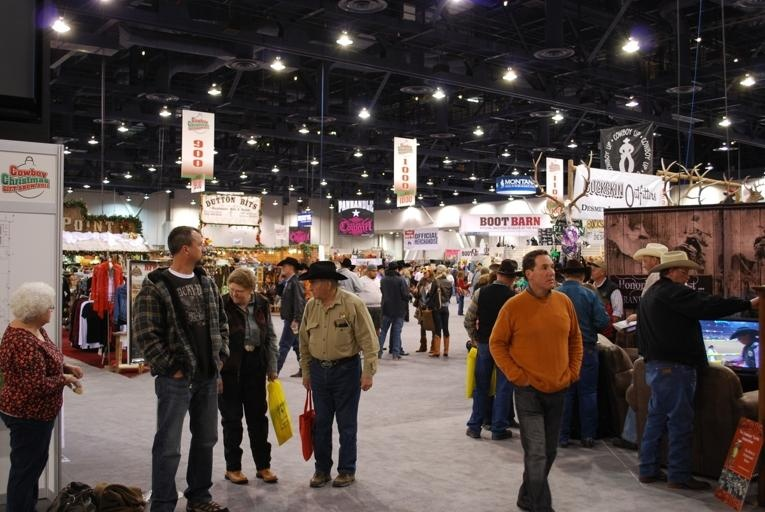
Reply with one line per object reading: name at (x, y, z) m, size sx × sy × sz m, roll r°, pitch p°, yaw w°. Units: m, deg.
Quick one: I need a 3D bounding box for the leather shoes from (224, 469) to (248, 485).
leather shoes at (-1.390, 2.105, 5.952) m, size 0.096 × 0.111 × 0.262 m, roll 10°, pitch -14°, yaw -42°

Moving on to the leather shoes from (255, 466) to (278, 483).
leather shoes at (-1.122, 2.120, 6.054) m, size 0.093 × 0.098 × 0.236 m, roll 6°, pitch -11°, yaw -36°

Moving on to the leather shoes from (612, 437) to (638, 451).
leather shoes at (2.669, 2.059, 6.874) m, size 0.102 × 0.113 × 0.279 m, roll 1°, pitch 4°, yaw -44°

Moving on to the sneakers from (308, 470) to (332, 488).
sneakers at (-0.598, 2.101, 5.870) m, size 0.097 × 0.083 × 0.203 m, roll -4°, pitch -13°, yaw 15°

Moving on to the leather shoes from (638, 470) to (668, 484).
leather shoes at (2.594, 2.119, 6.045) m, size 0.308 × 0.119 × 0.112 m, roll -2°, pitch 0°, yaw -17°

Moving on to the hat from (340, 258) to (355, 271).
hat at (-0.611, 0.131, 11.588) m, size 0.311 × 0.253 × 0.394 m, roll 3°, pitch -3°, yaw -4°

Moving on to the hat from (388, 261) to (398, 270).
hat at (0.178, 0.166, 12.196) m, size 0.173 × 0.166 × 0.133 m, roll -12°, pitch -38°, yaw 43°

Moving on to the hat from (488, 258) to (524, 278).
hat at (1.518, 0.138, 7.589) m, size 0.456 × 0.179 × 0.501 m, roll 4°, pitch 2°, yaw 19°

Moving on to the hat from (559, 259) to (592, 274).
hat at (2.200, 0.074, 7.174) m, size 0.350 × 0.136 × 0.393 m, roll -2°, pitch -19°, yaw 13°

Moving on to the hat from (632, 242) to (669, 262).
hat at (2.860, -0.063, 6.598) m, size 0.309 × 0.113 × 0.236 m, roll -3°, pitch 0°, yaw -18°

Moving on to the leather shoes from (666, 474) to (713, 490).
leather shoes at (2.872, 2.104, 5.905) m, size 0.417 × 0.161 × 0.145 m, roll -3°, pitch -4°, yaw -7°

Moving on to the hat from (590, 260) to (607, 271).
hat at (3.042, 0.109, 8.756) m, size 0.183 × 0.067 × 0.123 m, roll 9°, pitch -5°, yaw -26°

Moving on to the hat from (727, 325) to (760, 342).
hat at (3.673, 0.779, 6.333) m, size 0.265 × 0.082 × 0.264 m, roll -7°, pitch 8°, yaw -43°

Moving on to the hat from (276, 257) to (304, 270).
hat at (-1.522, 0.087, 10.029) m, size 0.247 × 0.105 × 0.278 m, roll 14°, pitch -4°, yaw -36°

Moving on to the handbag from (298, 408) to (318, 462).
handbag at (-0.705, 1.670, 5.853) m, size 0.146 × 0.492 × 0.118 m, roll -1°, pitch 2°, yaw -18°

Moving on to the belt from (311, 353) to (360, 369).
belt at (-0.452, 0.970, 5.871) m, size 0.455 × 0.113 × 0.217 m, roll 0°, pitch 2°, yaw -5°

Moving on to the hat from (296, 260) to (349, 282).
hat at (-0.715, 0.169, 7.469) m, size 0.569 × 0.231 × 0.627 m, roll -1°, pitch 0°, yaw 5°
